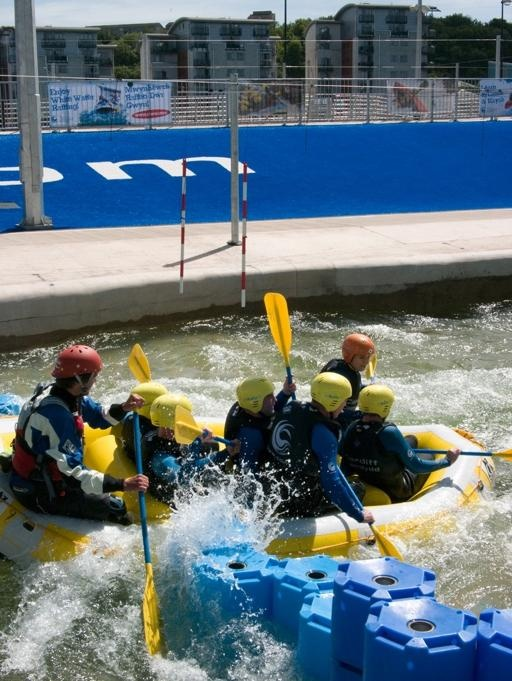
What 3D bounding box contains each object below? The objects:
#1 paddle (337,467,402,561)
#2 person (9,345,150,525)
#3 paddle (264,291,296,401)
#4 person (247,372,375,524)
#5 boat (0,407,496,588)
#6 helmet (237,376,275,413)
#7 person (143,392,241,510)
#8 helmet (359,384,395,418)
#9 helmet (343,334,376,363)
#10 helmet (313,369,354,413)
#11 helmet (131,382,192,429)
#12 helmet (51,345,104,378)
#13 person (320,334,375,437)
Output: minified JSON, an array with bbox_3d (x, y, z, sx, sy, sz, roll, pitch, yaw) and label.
[{"bbox_3d":[0.570,0.885,4.081,0.034,0.084,0.599,33,8,-22],"label":"paddle"},{"bbox_3d":[-0.878,0.494,3.905,0.599,0.909,0.455,-4,10,-16],"label":"person"},{"bbox_3d":[0.190,0.030,5.244,0.168,0.710,0.053,-12,3,6],"label":"paddle"},{"bbox_3d":[0.291,0.536,3.941,0.484,0.776,0.335,8,13,42],"label":"person"},{"bbox_3d":[-0.110,0.894,4.219,2.162,0.374,1.073,2,8,17],"label":"boat"},{"bbox_3d":[-0.012,0.270,4.147,0.209,0.149,0.134,-6,23,-5],"label":"helmet"},{"bbox_3d":[-0.388,0.695,4.306,0.589,0.737,0.333,0,18,-7],"label":"person"},{"bbox_3d":[0.662,0.323,4.420,0.208,0.178,0.153,-4,18,-38],"label":"helmet"},{"bbox_3d":[0.607,0.032,4.938,0.196,0.145,0.147,21,26,21],"label":"helmet"},{"bbox_3d":[0.348,0.236,3.866,0.209,0.170,0.151,11,18,-24],"label":"helmet"},{"bbox_3d":[-0.506,0.330,4.226,0.318,0.181,0.199,24,25,-17],"label":"helmet"},{"bbox_3d":[-0.848,0.107,3.886,0.213,0.092,0.146,-12,20,-35],"label":"helmet"},{"bbox_3d":[0.534,0.266,4.651,0.362,0.808,0.352,-1,31,1],"label":"person"}]
